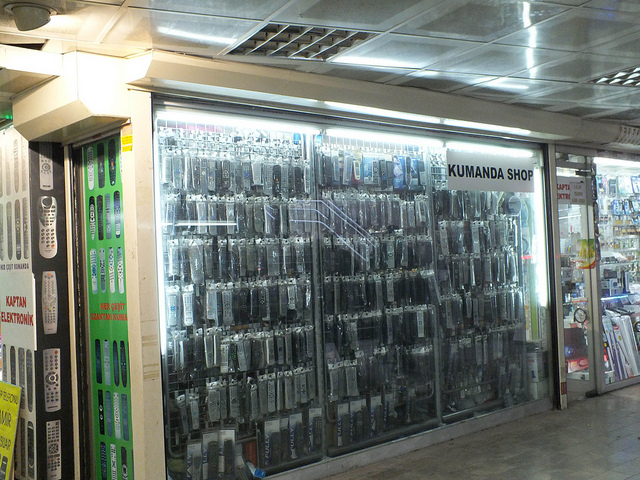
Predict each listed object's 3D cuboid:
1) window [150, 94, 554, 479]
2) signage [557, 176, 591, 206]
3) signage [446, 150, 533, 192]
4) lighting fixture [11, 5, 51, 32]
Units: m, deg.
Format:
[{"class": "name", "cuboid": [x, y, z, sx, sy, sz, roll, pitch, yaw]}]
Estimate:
[{"class": "window", "cuboid": [0.205, 0.461, 5.809, 3.568, 2.499, 0.207, -1, -2, -33]}, {"class": "signage", "cuboid": [3.157, -0.625, 7.599, 0.558, 0.356, 0.091, -3, 4, -35]}, {"class": "signage", "cuboid": [1.922, -0.765, 6.861, 0.023, 0.437, 1.266, -10, 13, -34]}, {"class": "lighting fixture", "cuboid": [-2.007, -1.539, 4.216, 0.247, 0.118, 0.324, -3, 5, -35]}]
